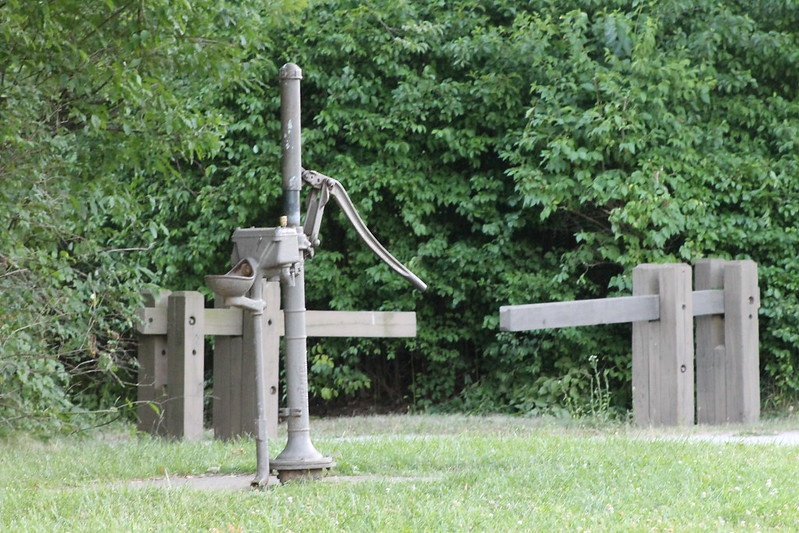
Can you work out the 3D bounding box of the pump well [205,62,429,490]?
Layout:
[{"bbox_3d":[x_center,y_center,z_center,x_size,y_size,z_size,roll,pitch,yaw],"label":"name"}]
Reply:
[{"bbox_3d":[-1.093,0.063,17.748,0.818,4.333,1.794,1,6,41],"label":"pump well"}]
